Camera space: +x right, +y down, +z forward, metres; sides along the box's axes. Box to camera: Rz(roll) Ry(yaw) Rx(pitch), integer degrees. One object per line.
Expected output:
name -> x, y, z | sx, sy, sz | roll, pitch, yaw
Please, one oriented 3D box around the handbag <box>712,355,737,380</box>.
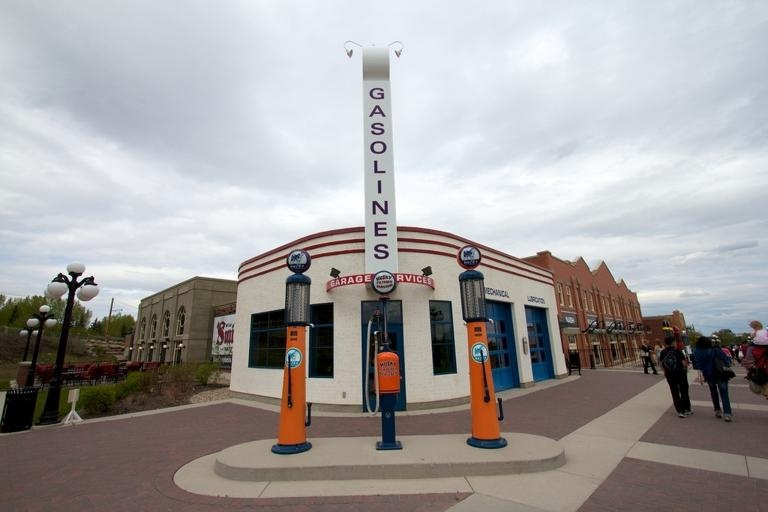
handbag -> 9.674, 3.138, 11.136 | 0.409, 0.657, 0.428 | -4, -4, 38
